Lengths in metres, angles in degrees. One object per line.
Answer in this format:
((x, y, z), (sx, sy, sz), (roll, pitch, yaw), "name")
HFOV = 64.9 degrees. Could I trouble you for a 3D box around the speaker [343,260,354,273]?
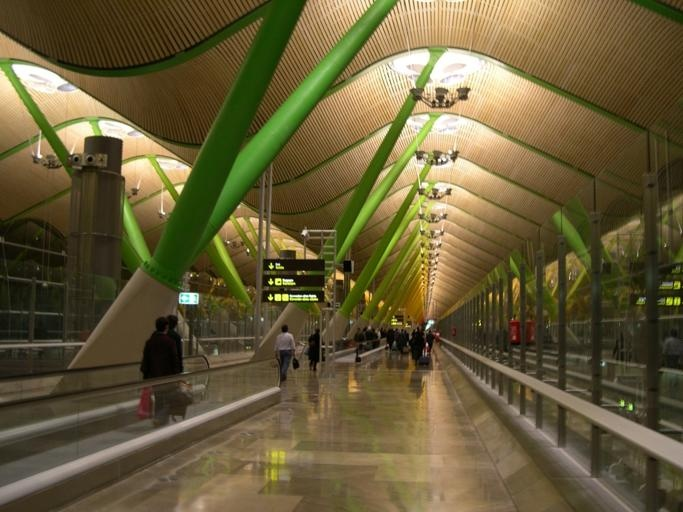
((0.372, 0.617, 32.170), (0.459, 0.982, 1.030), (1, -2, 9), "speaker")
